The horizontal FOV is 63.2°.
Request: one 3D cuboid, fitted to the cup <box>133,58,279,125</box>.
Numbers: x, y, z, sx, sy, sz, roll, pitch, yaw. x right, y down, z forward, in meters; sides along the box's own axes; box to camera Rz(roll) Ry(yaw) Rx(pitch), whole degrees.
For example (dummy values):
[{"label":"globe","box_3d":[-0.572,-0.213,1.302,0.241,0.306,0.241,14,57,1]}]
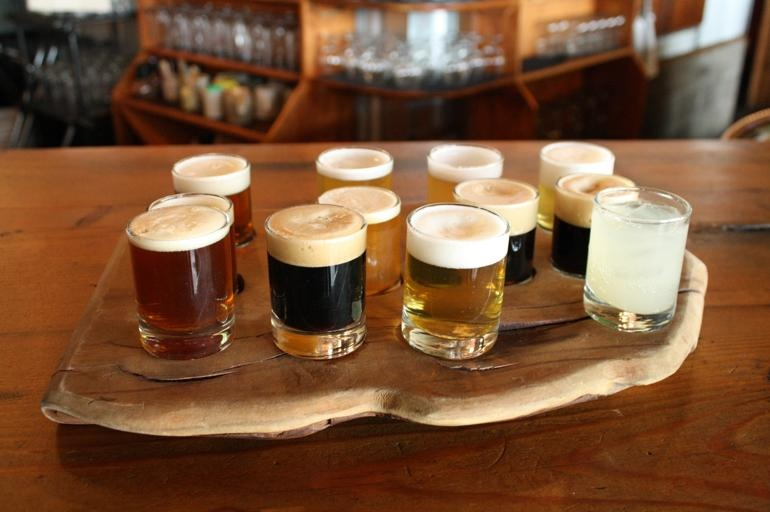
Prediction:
[{"label":"cup","box_3d":[-0.823,-0.792,2.928,0.573,0.144,0.353,13,31,14]}]
